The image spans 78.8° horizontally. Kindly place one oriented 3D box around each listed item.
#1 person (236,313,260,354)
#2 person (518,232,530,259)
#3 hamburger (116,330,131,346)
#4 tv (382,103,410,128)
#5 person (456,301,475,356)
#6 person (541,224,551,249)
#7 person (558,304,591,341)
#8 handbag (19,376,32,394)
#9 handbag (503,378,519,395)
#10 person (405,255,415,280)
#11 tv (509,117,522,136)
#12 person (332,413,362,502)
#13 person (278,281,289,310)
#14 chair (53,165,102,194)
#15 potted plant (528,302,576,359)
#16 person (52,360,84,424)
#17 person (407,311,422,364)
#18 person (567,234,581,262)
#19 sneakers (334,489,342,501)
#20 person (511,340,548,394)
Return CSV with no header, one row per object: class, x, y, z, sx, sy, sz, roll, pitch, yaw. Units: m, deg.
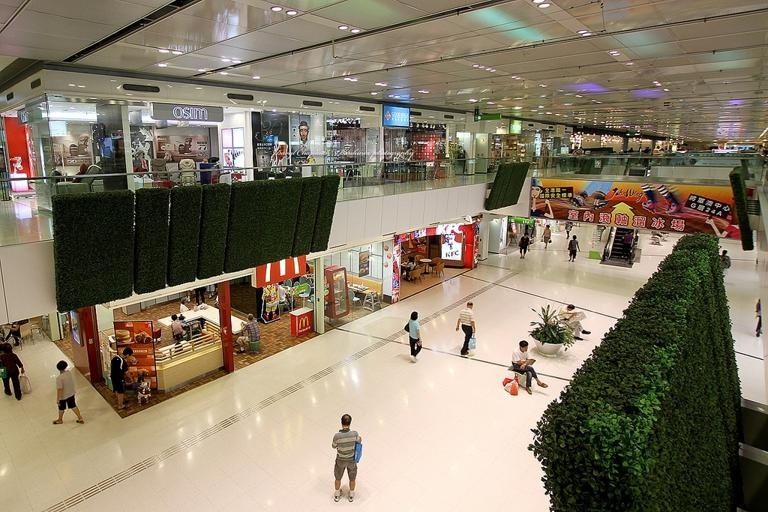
person,-4.112,2.306,14.175,0.885,1.080,0.465,8,17,28
person,7.216,-0.611,24.018,0.331,1.111,1.383,6,16,22
hamburger,-6.847,2.098,12.349,0.431,0.275,0.435,16,11,42
tv,0.563,-6.199,20.731,0.238,0.912,1.872,11,19,36
person,2.490,1.970,14.173,0.499,1.571,1.387,2,15,8
person,9.010,-1.145,25.938,0.342,1.227,1.173,5,16,16
person,6.121,2.083,15.068,0.899,1.109,0.574,-8,3,17
handbag,-9.339,3.354,12.207,0.382,0.465,0.196,18,25,37
handbag,3.304,3.354,12.148,0.205,0.335,0.354,30,-42,-35
person,1.183,0.566,20.200,0.388,0.787,1.022,1,15,2
tv,7.491,-7.454,26.756,0.104,0.676,1.016,7,12,38
person,-0.746,3.915,9.353,0.555,1.746,0.648,-1,15,-4
person,-3.635,1.470,16.901,0.299,1.190,0.725,-3,15,-10
chair,-5.905,-1.402,9.086,0.846,0.323,0.336,-9,18,-32
potted plant,5.204,2.206,14.472,1.600,1.373,1.413,-5,18,-11
person,-7.669,3.124,11.170,0.579,1.578,1.020,-12,19,-37
person,0.880,2.237,13.542,0.394,1.404,0.552,0,15,2
person,9.493,-0.535,23.386,0.391,1.385,2.242,6,16,22
sneakers,-0.913,4.750,9.324,0.102,0.092,0.228,3,25,5
person,3.786,2.804,12.197,0.817,1.303,0.610,-1,15,-3
